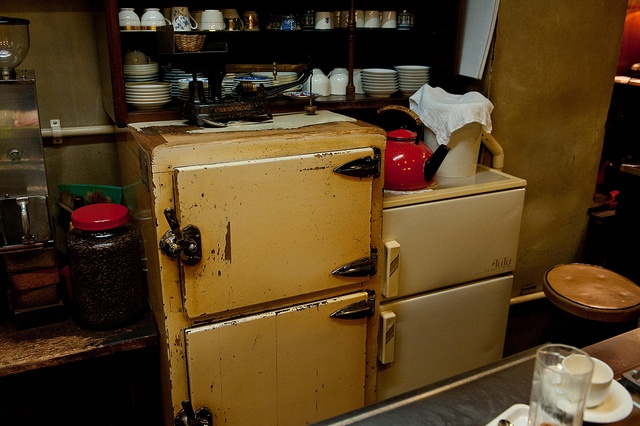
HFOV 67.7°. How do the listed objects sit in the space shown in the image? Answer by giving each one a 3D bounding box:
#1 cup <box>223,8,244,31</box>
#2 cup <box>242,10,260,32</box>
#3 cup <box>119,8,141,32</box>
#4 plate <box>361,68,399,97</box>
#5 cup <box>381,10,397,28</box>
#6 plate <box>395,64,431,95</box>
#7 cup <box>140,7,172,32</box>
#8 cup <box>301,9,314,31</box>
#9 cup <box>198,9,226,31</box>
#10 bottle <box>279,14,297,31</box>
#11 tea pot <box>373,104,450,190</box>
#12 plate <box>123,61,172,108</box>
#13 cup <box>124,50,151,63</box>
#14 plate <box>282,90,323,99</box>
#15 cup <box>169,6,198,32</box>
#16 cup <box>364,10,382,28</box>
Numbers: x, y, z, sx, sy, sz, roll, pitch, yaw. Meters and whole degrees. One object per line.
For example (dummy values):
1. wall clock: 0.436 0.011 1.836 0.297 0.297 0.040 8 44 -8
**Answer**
1. cup: -0.476 -1.060 2.608 0.111 0.113 0.090 -3 19 -9
2. cup: -0.386 -1.070 2.651 0.100 0.110 0.102 0 17 0
3. cup: -0.945 -0.953 2.379 0.113 0.109 0.113 1 11 0
4. plate: 0.371 -0.788 2.856 0.179 0.106 0.179 0 23 -3
5. cup: 0.423 -1.171 2.885 0.107 0.078 0.080 -2 22 -5
6. plate: 0.571 -0.824 2.954 0.186 0.132 0.191 10 18 35
7. cup: -0.843 -0.971 2.382 0.117 0.097 0.065 -7 20 -20
8. cup: -0.070 -1.120 2.758 0.099 0.113 0.100 2 18 -1
9. cup: -0.572 -1.016 2.517 0.110 0.093 0.111 1 16 0
10. bottle: -0.179 -1.077 2.698 0.084 0.118 0.084 -1 15 0
11. tea pot: 0.507 -0.353 2.546 0.453 0.409 0.361 6 17 25
12. plate: -0.885 -0.658 2.488 0.248 0.178 0.244 -5 13 -20
13. cup: -0.976 -0.814 2.513 0.101 0.068 0.074 -3 10 -34
14. plate: -0.087 -0.670 2.714 0.249 0.031 0.217 -1 19 -4
15. cup: -0.717 -1.018 2.505 0.138 0.123 0.113 -7 20 -20
16. cup: 0.320 -1.163 2.867 0.117 0.100 0.072 -5 9 -32
